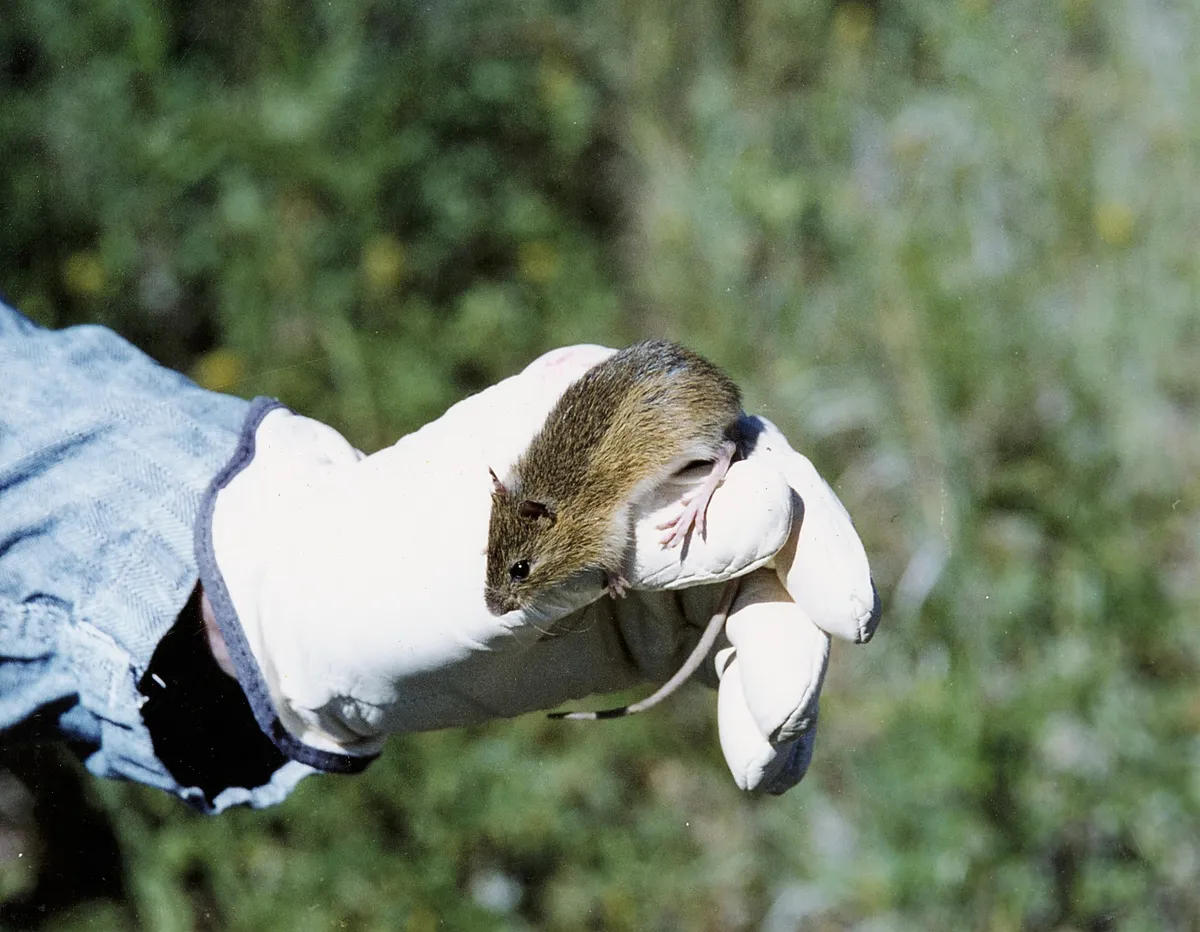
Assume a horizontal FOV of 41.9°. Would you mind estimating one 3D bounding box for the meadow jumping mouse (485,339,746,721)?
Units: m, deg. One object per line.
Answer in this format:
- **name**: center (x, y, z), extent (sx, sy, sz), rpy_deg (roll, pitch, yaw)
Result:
- **meadow jumping mouse**: center (0.067, 0.142, 3.685), extent (0.696, 0.277, 0.730), rpy_deg (-39, 42, 19)
